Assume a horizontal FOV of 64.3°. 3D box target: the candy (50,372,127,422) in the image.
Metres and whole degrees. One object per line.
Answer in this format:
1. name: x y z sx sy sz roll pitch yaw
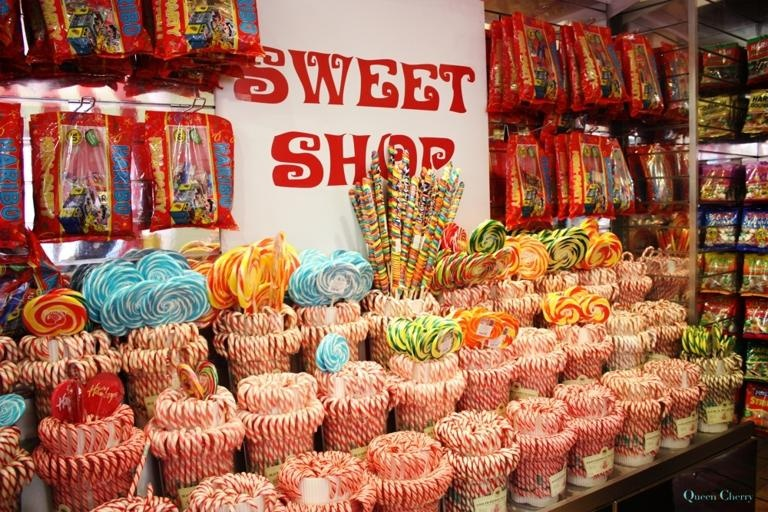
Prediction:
1. candy: -1.043 0.497 2.165 0.228 0.153 0.071 -7 10 -30

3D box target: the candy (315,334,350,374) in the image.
1. candy: -0.199 0.386 2.449 0.095 0.149 0.130 1 9 22

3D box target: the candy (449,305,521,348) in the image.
1. candy: 0.432 0.302 2.626 0.247 0.176 0.087 21 20 -22

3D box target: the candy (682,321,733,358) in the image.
1. candy: 1.592 0.397 3.037 0.195 0.151 0.189 -1 -1 -39

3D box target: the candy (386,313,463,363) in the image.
1. candy: 0.171 0.323 2.497 0.223 0.103 0.208 4 -7 -44

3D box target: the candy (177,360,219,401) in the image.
1. candy: -0.667 0.452 2.219 0.122 0.147 0.063 -1 -16 -24

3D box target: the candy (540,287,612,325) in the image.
1. candy: 0.921 0.262 2.915 0.260 0.098 0.188 8 -21 -28
